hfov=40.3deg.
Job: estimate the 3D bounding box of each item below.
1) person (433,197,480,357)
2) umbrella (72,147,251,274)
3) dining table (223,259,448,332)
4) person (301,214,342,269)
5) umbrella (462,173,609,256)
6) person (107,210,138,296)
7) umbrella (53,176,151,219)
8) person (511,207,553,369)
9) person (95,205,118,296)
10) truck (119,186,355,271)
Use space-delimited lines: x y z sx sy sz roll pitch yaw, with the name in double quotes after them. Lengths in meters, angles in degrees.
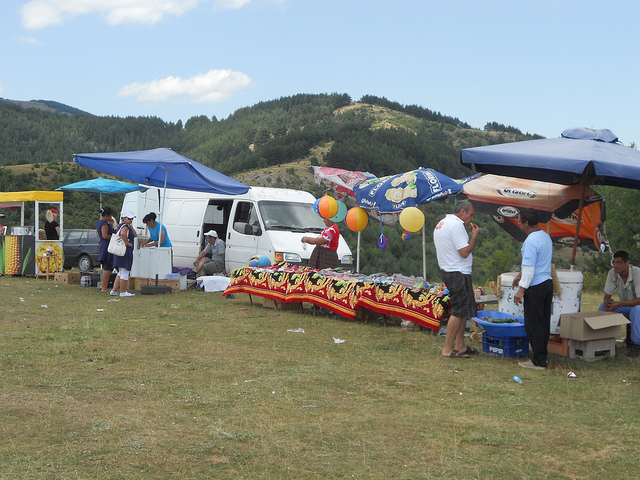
2.175 0.560 13.691 0.713 2.279 0.841 4 5 14 "person"
-3.523 -1.248 19.522 3.361 1.698 2.560 4 14 8 "umbrella"
0.723 0.868 16.100 2.809 0.590 1.134 4 8 40 "dining table"
0.077 0.083 17.302 0.626 1.187 0.596 -2 4 -6 "person"
4.230 -0.590 16.306 1.980 0.934 1.977 5 8 -34 "umbrella"
-4.067 0.237 17.796 0.719 1.633 0.523 0 0 13 "person"
-5.867 -1.029 23.475 2.293 1.585 2.436 -3 12 -19 "umbrella"
3.196 0.716 13.047 0.566 2.314 0.610 5 13 12 "person"
-4.698 0.287 19.137 0.614 2.161 0.469 -4 4 -36 "person"
-1.867 -0.146 21.148 2.386 2.408 6.481 4 0 -34 "truck"
